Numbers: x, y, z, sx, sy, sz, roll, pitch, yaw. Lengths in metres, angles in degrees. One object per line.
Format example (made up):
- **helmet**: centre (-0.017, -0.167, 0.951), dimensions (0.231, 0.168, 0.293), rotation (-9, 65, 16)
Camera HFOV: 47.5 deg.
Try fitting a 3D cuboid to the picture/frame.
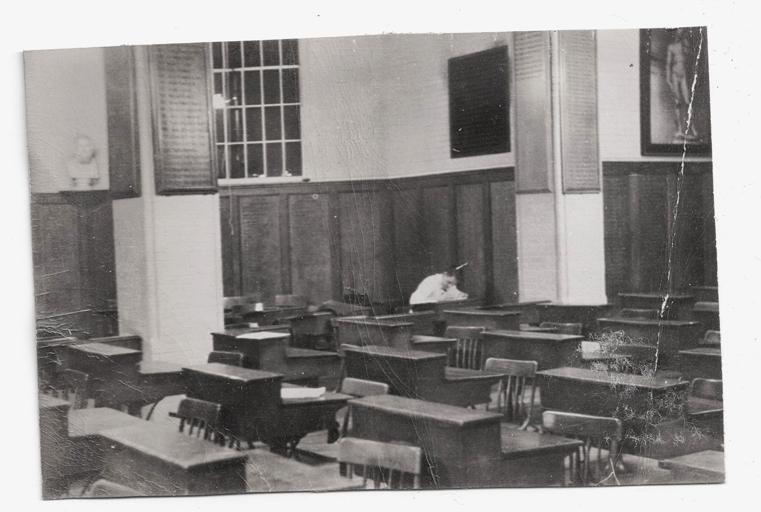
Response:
- **picture/frame**: centre (1.597, -0.889, 4.723), dimensions (0.368, 0.682, 0.019), rotation (-1, 1, -1)
